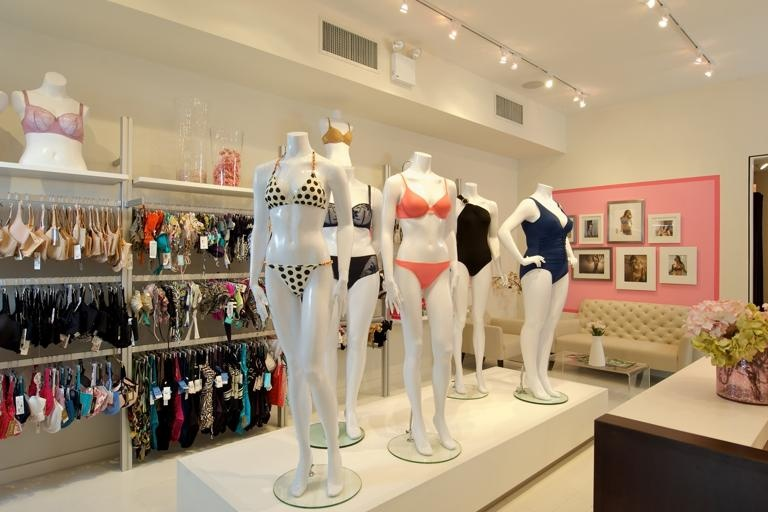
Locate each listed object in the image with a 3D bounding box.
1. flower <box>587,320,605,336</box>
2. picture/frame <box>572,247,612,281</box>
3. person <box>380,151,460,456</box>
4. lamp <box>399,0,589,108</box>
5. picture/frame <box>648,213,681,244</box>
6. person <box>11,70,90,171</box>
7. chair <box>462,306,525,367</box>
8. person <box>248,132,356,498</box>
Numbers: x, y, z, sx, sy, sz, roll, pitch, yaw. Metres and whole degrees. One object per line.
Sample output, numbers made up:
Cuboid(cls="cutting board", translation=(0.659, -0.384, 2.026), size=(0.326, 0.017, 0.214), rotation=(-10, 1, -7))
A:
Cuboid(cls="flower", translation=(2.905, 0.996, 7.019), size=(0.218, 0.245, 0.229), rotation=(-3, -13, 24))
Cuboid(cls="picture/frame", translation=(3.270, 0.120, 7.985), size=(0.485, 0.501, 0.035), rotation=(1, -1, 43))
Cuboid(cls="person", translation=(0.292, 0.334, 4.181), size=(0.608, 2.344, 0.784), rotation=(-1, 8, 8))
Cuboid(cls="lamp", translation=(1.586, -2.472, 6.366), size=(3.329, 0.784, 0.383), rotation=(-11, 11, -43))
Cuboid(cls="picture/frame", translation=(4.112, -0.410, 7.476), size=(0.017, 0.504, 0.395), rotation=(6, -1, -43))
Cuboid(cls="person", translation=(-2.927, -1.156, 4.532), size=(0.348, 1.016, 0.623), rotation=(-23, -18, 41))
Cuboid(cls="chair", translation=(1.607, 1.154, 7.541), size=(0.784, 0.942, 0.816), rotation=(4, -7, -38))
Cuboid(cls="person", translation=(-0.577, 0.396, 3.610), size=(0.741, 2.511, 0.515), rotation=(-3, 8, -4))
